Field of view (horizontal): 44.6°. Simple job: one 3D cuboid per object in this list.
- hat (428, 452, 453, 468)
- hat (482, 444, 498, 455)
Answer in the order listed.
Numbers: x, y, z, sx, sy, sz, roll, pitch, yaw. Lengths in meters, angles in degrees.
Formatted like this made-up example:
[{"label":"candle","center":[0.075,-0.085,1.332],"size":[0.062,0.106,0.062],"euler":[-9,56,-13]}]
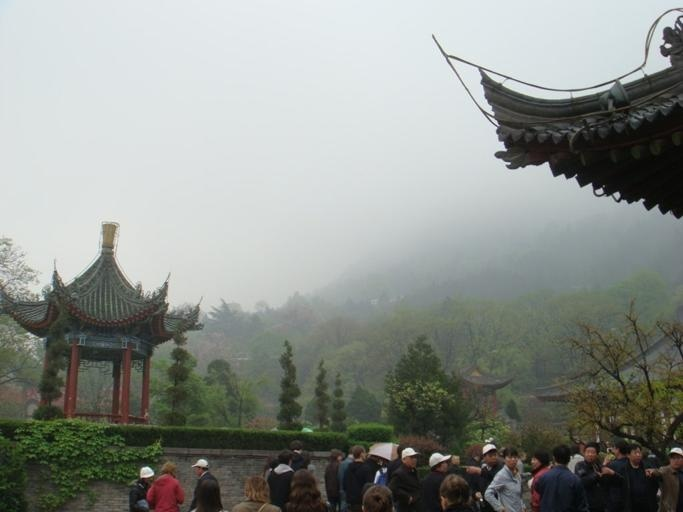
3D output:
[{"label":"hat","center":[2.376,4.872,20.037],"size":[0.450,0.355,0.531],"euler":[-4,-16,6]},{"label":"hat","center":[3.691,4.789,20.837],"size":[0.252,0.204,0.363],"euler":[0,-20,-10]}]
